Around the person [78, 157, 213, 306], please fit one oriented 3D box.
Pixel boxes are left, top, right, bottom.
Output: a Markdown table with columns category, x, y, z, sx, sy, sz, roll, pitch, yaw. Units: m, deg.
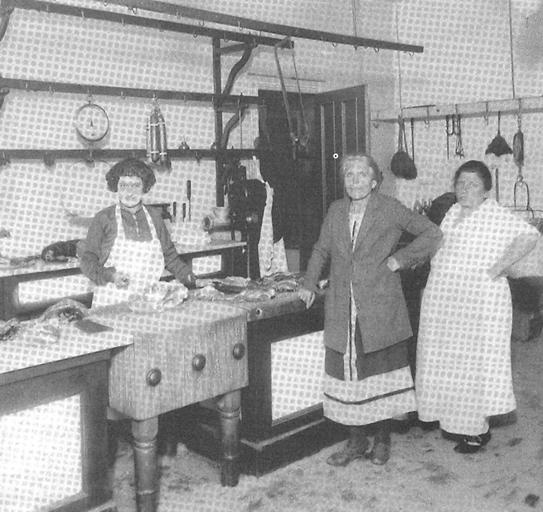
| category | x | y | z | sx | sy | sz | roll | pitch | yaw |
| --- | --- | --- | --- | --- | --- | --- | --- | --- | --- |
| person | -0.681 | 0.061 | 3.111 | 0.502 | 1.105 | 0.420 | -1 | 15 | -18 |

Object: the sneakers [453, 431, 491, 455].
| category | x | y | z | sx | sy | sz | roll | pitch | yaw |
| --- | --- | --- | --- | --- | --- | --- | --- | --- | --- |
| sneakers | 1.165 | 1.077 | 3.431 | 0.138 | 0.063 | 0.114 | -14 | 6 | 15 |

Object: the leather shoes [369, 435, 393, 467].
| category | x | y | z | sx | sy | sz | roll | pitch | yaw |
| --- | --- | --- | --- | --- | --- | --- | --- | --- | --- |
| leather shoes | 0.619 | 1.088 | 3.336 | 0.061 | 0.151 | 0.200 | -1 | -28 | 14 |
